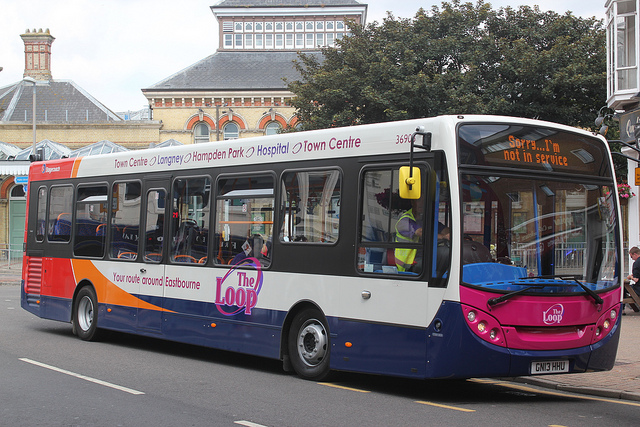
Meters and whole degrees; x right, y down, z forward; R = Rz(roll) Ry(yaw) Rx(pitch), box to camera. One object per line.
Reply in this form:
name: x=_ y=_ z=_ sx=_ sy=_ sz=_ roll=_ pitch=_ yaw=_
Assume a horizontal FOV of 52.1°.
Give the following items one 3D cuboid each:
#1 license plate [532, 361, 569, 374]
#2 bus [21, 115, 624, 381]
license plate: x=3.297 y=2.196 z=9.308 sx=0.668 sy=0.170 sz=0.031 roll=2 pitch=-1 yaw=-25
bus: x=-1.423 y=0.701 z=13.039 sx=13.346 sy=4.155 sz=3.145 roll=-1 pitch=-2 yaw=38
